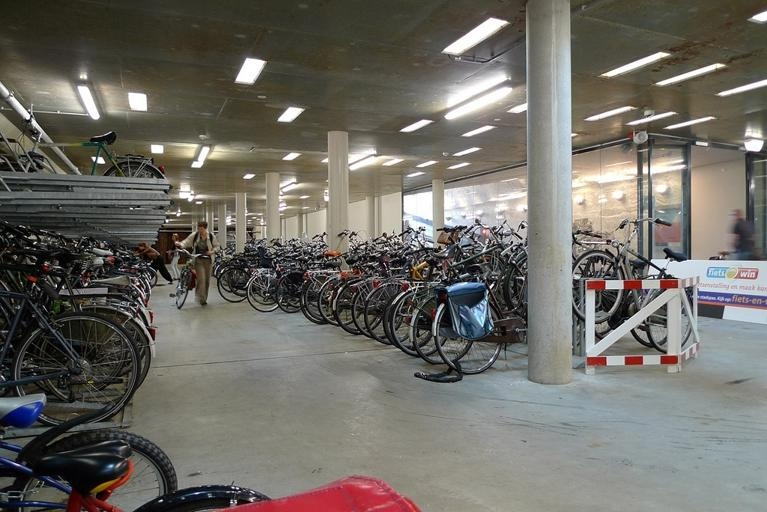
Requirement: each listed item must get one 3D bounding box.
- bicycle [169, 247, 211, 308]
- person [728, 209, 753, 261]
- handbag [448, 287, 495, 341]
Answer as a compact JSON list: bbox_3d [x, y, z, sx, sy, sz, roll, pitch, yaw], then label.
[{"bbox_3d":[-3.920,0.455,10.082,0.750,1.241,1.220,-4,9,-18],"label":"bicycle"},{"bbox_3d":[7.235,-0.420,9.795,0.405,0.938,1.554,7,11,35],"label":"person"},{"bbox_3d":[0.894,0.606,5.082,0.684,0.559,0.194,-5,-5,-30],"label":"handbag"}]
